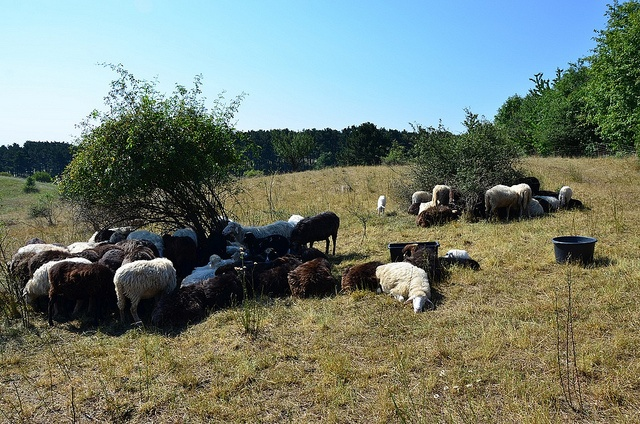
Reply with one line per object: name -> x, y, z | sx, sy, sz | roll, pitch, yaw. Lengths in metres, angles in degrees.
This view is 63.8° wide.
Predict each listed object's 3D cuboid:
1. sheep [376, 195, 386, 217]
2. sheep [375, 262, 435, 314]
sheep -> 2.450, -0.238, 20.690 | 0.348, 0.537, 0.843 | -5, 2, 5
sheep -> 2.001, 1.724, 12.010 | 0.722, 0.787, 1.331 | -7, 2, -33
